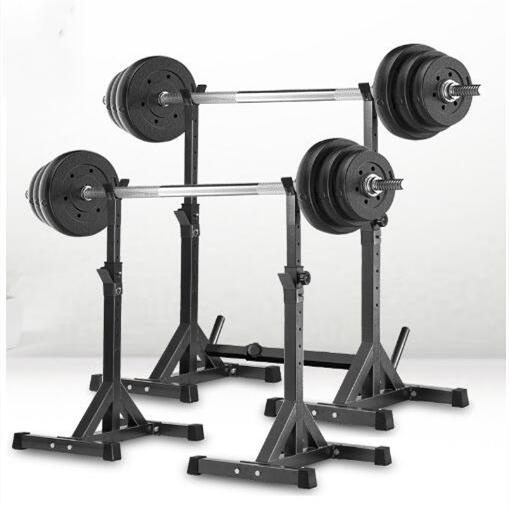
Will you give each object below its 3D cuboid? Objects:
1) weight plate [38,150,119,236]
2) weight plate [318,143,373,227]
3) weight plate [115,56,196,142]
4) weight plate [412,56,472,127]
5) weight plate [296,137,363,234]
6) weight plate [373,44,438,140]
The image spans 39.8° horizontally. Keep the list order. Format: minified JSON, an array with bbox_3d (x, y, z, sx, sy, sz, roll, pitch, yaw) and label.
[{"bbox_3d":[-0.765,-0.257,3.215,0.313,0.346,0.130,11,-93,18],"label":"weight plate"},{"bbox_3d":[0.319,-0.255,2.519,0.219,0.090,0.264,-7,-80,-40],"label":"weight plate"},{"bbox_3d":[-0.569,-0.870,3.932,0.144,0.426,0.503,8,-72,45],"label":"weight plate"},{"bbox_3d":[0.903,-0.790,3.494,0.124,0.313,0.365,2,-94,39],"label":"weight plate"},{"bbox_3d":[0.249,-0.243,2.540,0.069,0.284,0.313,-3,-78,19],"label":"weight plate"},{"bbox_3d":[0.711,-0.791,3.479,0.113,0.375,0.414,3,-64,34],"label":"weight plate"}]
